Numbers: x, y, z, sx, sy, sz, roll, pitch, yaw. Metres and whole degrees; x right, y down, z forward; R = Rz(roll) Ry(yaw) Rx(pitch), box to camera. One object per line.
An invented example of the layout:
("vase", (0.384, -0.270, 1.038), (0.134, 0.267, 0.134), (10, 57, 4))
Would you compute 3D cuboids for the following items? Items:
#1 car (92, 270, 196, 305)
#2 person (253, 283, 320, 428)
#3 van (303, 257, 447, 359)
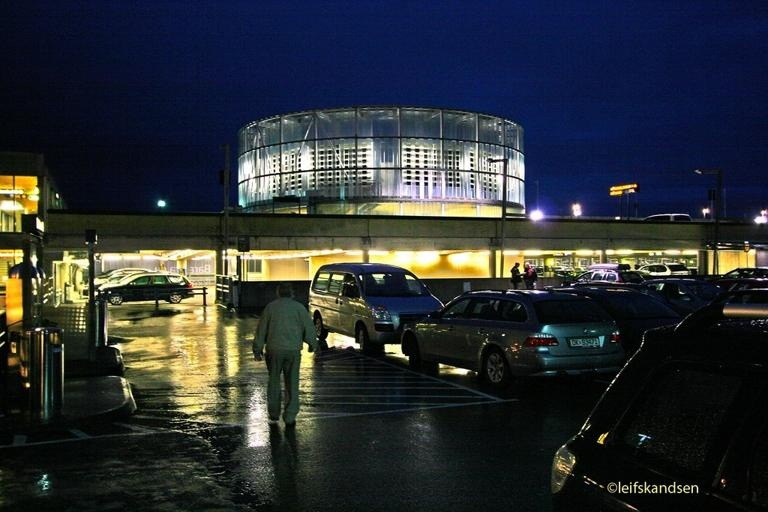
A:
("car", (-12.123, 1.681, 37.507), (3.669, 1.130, 1.624), (3, -2, -25))
("person", (-1.482, 1.466, 10.958), (0.878, 2.050, 0.674), (1, 1, 7))
("van", (-0.216, 1.271, 19.970), (2.002, 1.651, 3.809), (0, -3, -26))
